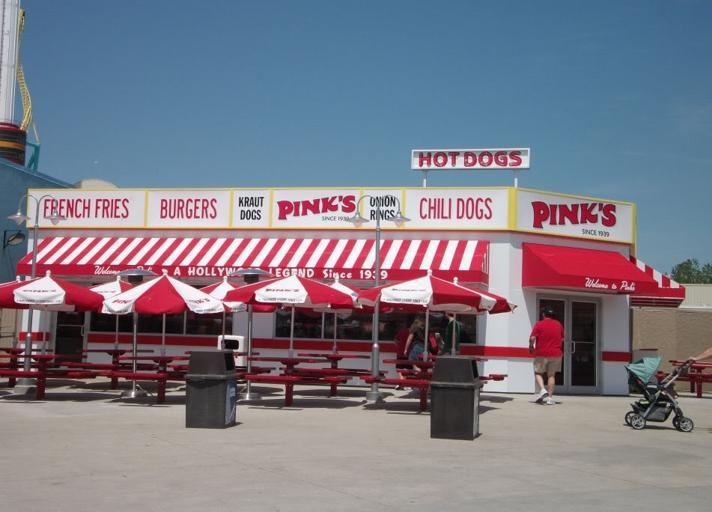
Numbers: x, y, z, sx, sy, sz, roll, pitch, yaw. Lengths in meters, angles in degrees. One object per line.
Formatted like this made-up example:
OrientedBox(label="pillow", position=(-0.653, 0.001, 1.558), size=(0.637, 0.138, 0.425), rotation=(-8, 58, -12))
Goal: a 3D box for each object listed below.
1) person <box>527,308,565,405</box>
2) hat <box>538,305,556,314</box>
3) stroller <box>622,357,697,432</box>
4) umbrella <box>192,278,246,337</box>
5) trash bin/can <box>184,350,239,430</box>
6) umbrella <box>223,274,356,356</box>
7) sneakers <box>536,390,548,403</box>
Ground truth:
OrientedBox(label="person", position=(4.919, 2.622, 24.558), size=(0.780, 2.532, 0.999), rotation=(3, 5, 16))
OrientedBox(label="hat", position=(5.347, 1.507, 26.727), size=(0.387, 0.159, 0.523), rotation=(2, 7, 4))
OrientedBox(label="stroller", position=(6.676, 3.056, 20.941), size=(1.397, 1.559, 1.043), rotation=(3, 5, 15))
OrientedBox(label="umbrella", position=(-3.674, 1.468, 25.816), size=(1.820, 1.934, 1.688), rotation=(-1, 2, -9))
OrientedBox(label="trash bin/can", position=(-3.058, 2.787, 19.872), size=(1.020, 1.497, 0.823), rotation=(1, 5, -11))
OrientedBox(label="umbrella", position=(-1.676, 1.664, 24.268), size=(2.637, 1.449, 2.475), rotation=(0, -7, 5))
OrientedBox(label="sneakers", position=(4.904, 3.733, 24.960), size=(0.208, 0.218, 0.515), rotation=(6, -35, -11))
